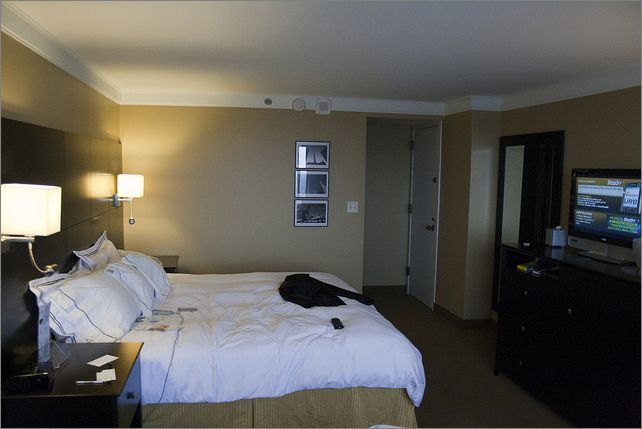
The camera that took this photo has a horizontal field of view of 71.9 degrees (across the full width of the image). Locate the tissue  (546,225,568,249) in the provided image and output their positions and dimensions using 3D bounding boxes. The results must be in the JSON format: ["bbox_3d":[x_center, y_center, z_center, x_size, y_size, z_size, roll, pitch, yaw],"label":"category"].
[{"bbox_3d":[2.366,0.241,4.441,0.171,0.300,0.310,3,5,21],"label":"tissue "}]

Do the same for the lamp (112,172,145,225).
[{"bbox_3d":[-2.285,-0.172,5.224,0.349,0.582,0.306,-2,-1,-31],"label":"lamp"}]

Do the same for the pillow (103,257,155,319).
[{"bbox_3d":[-1.691,0.667,3.971,0.132,0.454,0.414,-27,-19,7],"label":"pillow"}]

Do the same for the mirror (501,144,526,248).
[{"bbox_3d":[2.336,-0.239,5.422,0.094,1.186,0.256,-4,7,-25],"label":"mirror"}]

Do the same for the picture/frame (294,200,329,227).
[{"bbox_3d":[-0.153,-0.022,5.914,0.367,0.276,0.015,0,3,-9],"label":"picture/frame"}]

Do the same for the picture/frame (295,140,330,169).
[{"bbox_3d":[-0.138,-0.809,5.859,0.371,0.287,0.038,0,9,-5],"label":"picture/frame"}]
